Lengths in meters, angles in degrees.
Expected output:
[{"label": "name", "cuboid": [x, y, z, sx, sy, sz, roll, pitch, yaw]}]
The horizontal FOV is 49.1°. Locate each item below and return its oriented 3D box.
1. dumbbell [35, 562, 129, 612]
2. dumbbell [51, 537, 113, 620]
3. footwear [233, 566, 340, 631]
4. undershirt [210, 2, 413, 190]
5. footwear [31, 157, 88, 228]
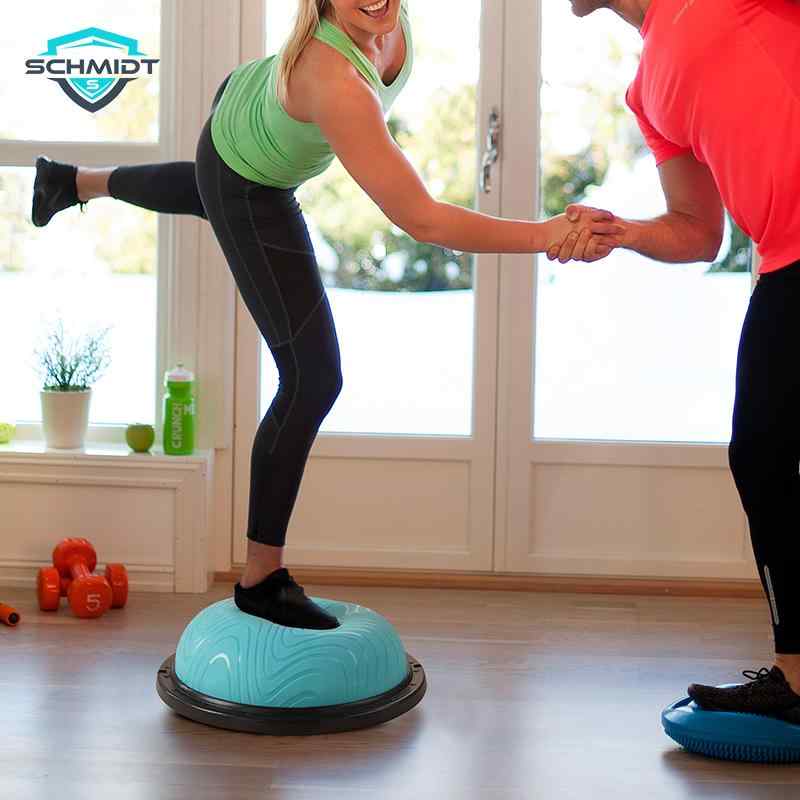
[{"label": "dumbbell", "cuboid": [-0.977, 0.573, 2.608, 0.268, 0.131, 0.116, 1, 1, 42]}, {"label": "dumbbell", "cuboid": [-0.954, 0.537, 2.649, 0.117, 0.128, 0.277, 4, 17, -34]}, {"label": "footwear", "cuboid": [-0.262, 0.461, 2.033, 0.276, 0.128, 0.095, 9, 3, 17]}, {"label": "undershirt", "cuboid": [-0.217, -0.642, 1.810, 0.448, 0.376, 0.334, 2, 4, 10]}, {"label": "footwear", "cuboid": [-0.902, -0.551, 2.311, 0.145, 0.267, 0.088, 4, 7, -17]}]
